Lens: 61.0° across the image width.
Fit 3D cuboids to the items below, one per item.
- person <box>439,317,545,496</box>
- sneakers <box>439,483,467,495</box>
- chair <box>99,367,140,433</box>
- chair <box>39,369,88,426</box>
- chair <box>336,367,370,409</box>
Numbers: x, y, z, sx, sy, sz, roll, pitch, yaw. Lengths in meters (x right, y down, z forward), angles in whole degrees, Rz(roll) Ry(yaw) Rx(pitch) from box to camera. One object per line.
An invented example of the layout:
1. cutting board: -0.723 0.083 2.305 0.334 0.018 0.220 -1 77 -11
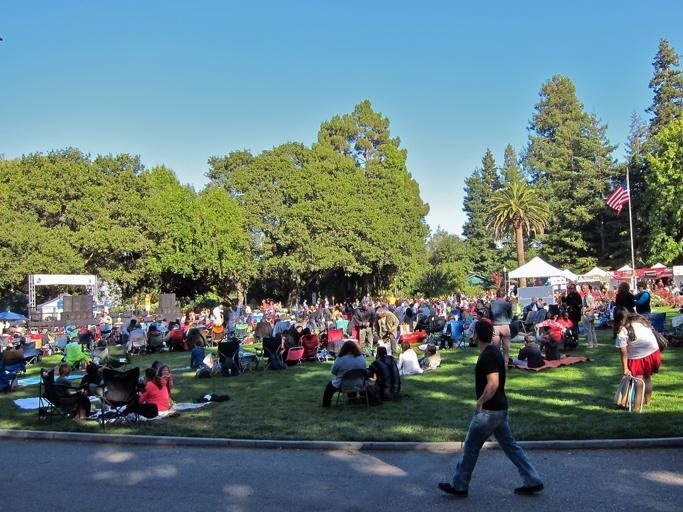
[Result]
1. person: 2.109 2.178 8.408 1.375 2.517 0.769 -3 -7 9
2. sneakers: 1.598 3.341 8.365 0.381 0.195 0.172 5 -6 24
3. chair: -5.104 3.343 13.364 0.828 1.576 1.010 2 -3 -19
4. chair: -6.711 3.327 13.756 1.117 1.565 1.089 -2 -7 9
5. chair: 0.288 3.049 13.653 0.674 1.293 0.917 0 6 -13
